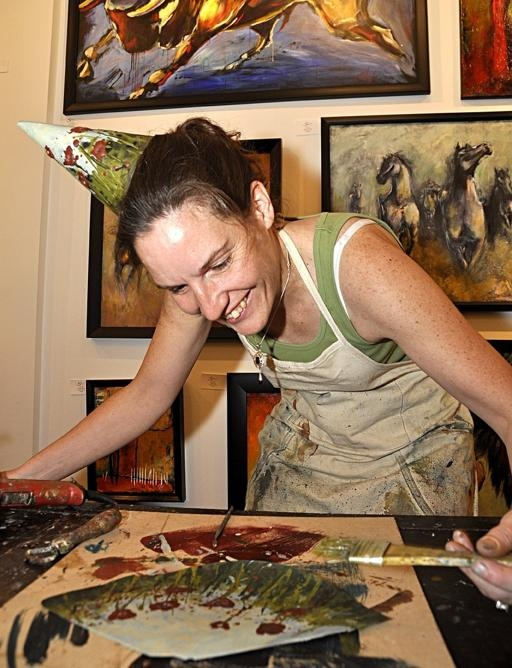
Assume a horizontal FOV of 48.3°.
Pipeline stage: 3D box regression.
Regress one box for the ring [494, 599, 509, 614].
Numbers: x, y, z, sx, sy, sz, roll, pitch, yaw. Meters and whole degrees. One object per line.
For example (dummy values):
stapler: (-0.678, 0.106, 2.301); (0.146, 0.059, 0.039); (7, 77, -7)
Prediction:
ring: (0.309, 0.344, 0.717); (0.016, 0.006, 0.022); (-12, 13, -2)
